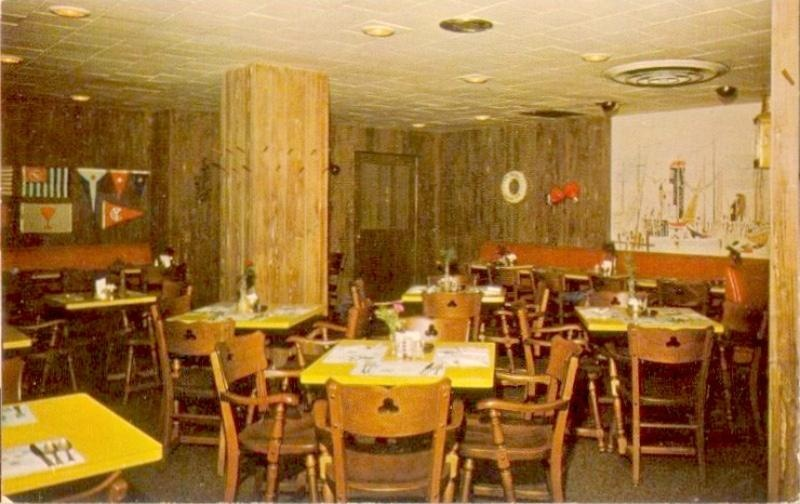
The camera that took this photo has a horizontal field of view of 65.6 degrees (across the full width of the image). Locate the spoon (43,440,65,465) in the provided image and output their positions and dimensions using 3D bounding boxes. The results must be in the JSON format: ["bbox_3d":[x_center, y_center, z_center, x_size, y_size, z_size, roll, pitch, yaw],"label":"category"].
[{"bbox_3d":[-1.924,1.112,3.480,0.107,0.027,0.171,0,16,-30],"label":"spoon"}]
